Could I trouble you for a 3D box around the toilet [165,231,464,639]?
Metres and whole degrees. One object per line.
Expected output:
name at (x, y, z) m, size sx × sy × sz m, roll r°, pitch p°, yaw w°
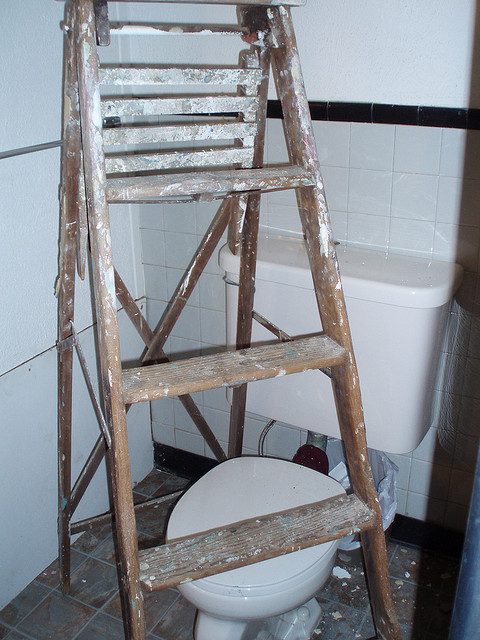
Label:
toilet at (0.200, 0.260, 1.120) m, size 0.452 × 0.798 × 0.747 m, roll 11°, pitch 42°, yaw 16°
